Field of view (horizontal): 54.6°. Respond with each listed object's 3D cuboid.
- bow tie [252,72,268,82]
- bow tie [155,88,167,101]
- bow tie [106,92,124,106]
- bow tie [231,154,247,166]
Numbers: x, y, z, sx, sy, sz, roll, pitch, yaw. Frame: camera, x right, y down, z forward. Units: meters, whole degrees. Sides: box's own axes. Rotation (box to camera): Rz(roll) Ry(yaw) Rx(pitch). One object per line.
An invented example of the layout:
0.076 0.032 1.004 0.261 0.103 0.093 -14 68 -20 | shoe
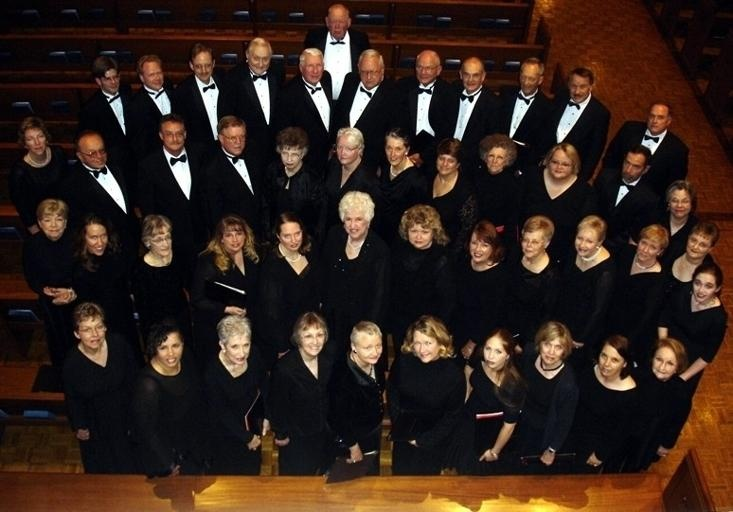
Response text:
-1.223 -2.080 8.222 0.337 0.066 0.122 -2 0 -17 | bow tie
-2.372 -1.881 8.221 0.045 0.102 0.146 11 27 23 | bow tie
-2.895 -1.825 8.206 0.126 0.051 0.124 -17 47 -30 | bow tie
-1.370 -1.043 7.673 0.169 0.137 0.062 -20 31 -36 | bow tie
